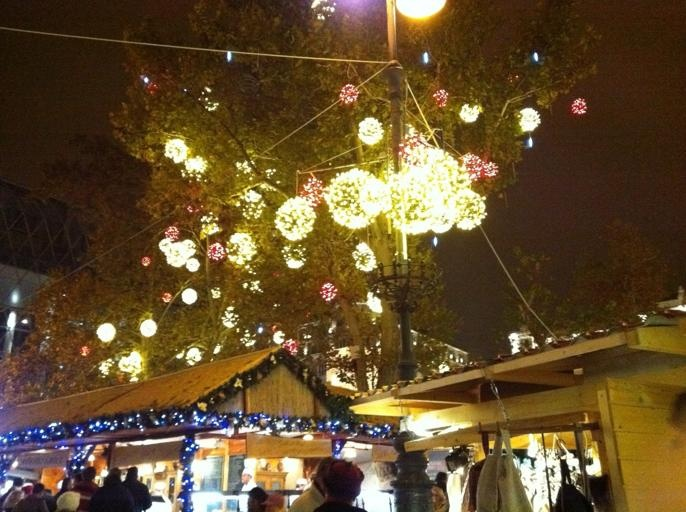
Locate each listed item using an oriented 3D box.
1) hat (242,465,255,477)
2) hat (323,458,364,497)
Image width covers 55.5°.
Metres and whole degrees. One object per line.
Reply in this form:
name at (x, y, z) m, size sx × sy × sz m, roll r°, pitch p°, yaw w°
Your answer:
hat at (-2.368, 5.392, 16.235) m, size 0.200 × 0.236 × 0.255 m, roll 4°, pitch 2°, yaw 1°
hat at (0.033, 2.733, 8.134) m, size 0.360 × 0.470 × 0.474 m, roll 3°, pitch -3°, yaw 14°
